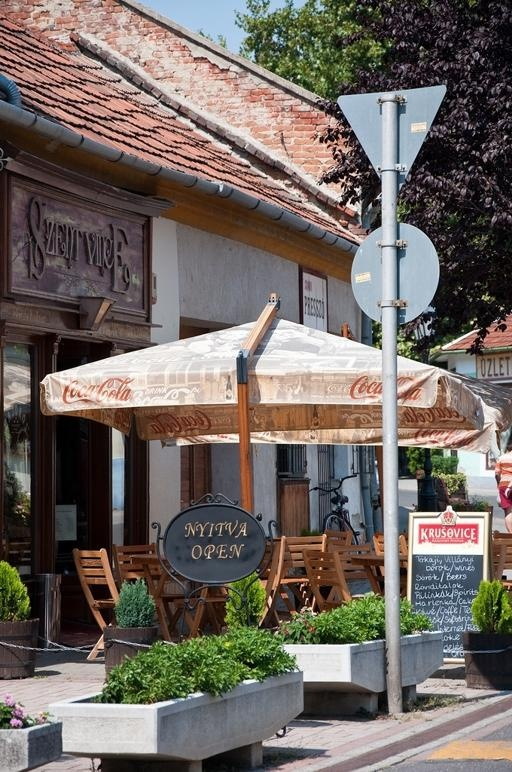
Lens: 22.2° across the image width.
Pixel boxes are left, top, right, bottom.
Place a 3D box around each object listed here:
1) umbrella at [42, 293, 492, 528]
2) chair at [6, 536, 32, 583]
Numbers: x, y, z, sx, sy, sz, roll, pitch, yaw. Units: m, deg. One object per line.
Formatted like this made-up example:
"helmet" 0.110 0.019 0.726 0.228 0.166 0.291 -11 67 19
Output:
"umbrella" -0.049 0.159 9.658 3.599 1.520 3.169 -5 -5 30
"chair" -1.907 1.392 10.484 0.269 0.237 0.294 0 -6 -7
